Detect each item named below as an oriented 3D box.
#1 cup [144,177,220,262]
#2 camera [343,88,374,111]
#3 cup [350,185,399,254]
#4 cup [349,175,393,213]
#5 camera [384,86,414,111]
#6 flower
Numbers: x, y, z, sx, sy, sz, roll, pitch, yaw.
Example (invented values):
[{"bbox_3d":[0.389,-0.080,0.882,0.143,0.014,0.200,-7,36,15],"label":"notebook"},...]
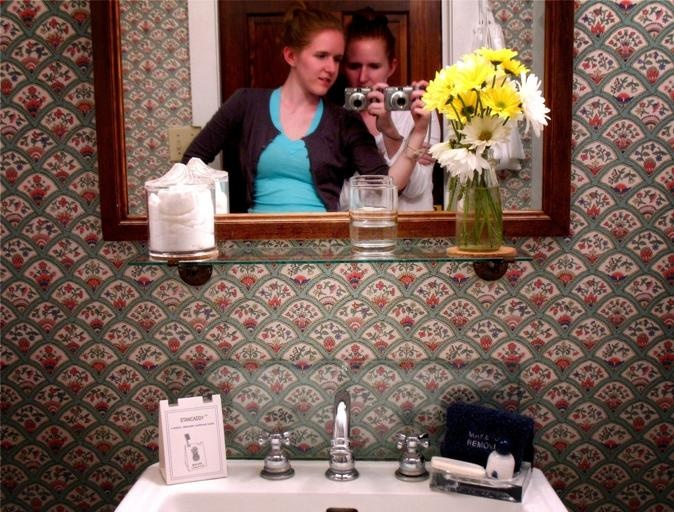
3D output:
[{"bbox_3d":[-0.318,-0.069,1.392,0.149,0.185,0.156,-1,1,0],"label":"cup"},{"bbox_3d":[0.053,-0.372,1.532,0.071,0.058,0.047,0,13,2],"label":"camera"},{"bbox_3d":[0.073,-0.085,1.476,0.141,0.235,0.137,0,3,0],"label":"cup"},{"bbox_3d":[0.090,-0.143,1.469,0.082,0.066,0.086,1,7,0],"label":"cup"},{"bbox_3d":[0.153,-0.384,1.524,0.081,0.063,0.047,0,13,1],"label":"camera"},{"bbox_3d":[0.297,-0.266,1.662,0.379,0.583,0.418,-1,6,3],"label":"flower"}]
